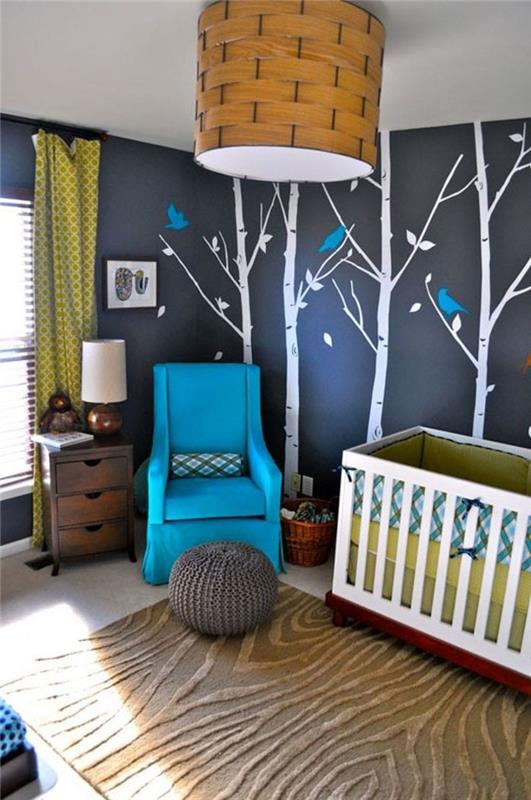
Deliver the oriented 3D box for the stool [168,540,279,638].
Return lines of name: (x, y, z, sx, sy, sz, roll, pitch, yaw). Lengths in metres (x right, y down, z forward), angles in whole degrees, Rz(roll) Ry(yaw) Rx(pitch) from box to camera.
stool: (-0.191, 0.790, 2.597, 0.392, 0.232, 0.385, 5, 8, 32)

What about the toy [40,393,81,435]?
toy: (-1.141, 0.104, 3.385, 0.247, 0.288, 0.186, 0, -7, -36)

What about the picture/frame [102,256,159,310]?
picture/frame: (-0.822, -0.728, 3.716, 0.408, 0.303, 0.023, 5, 7, 28)

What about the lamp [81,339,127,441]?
lamp: (-0.894, -0.062, 3.284, 0.232, 0.533, 0.216, 0, 9, -15)

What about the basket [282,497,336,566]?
basket: (0.213, 0.760, 3.453, 0.346, 0.254, 0.338, -25, 16, -36)

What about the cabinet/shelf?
cabinet/shelf: (-0.921, 0.639, 3.263, 0.462, 0.634, 0.406, 0, -23, -21)

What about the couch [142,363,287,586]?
couch: (-0.330, 0.363, 3.419, 0.939, 1.121, 1.003, -1, 4, -35)
